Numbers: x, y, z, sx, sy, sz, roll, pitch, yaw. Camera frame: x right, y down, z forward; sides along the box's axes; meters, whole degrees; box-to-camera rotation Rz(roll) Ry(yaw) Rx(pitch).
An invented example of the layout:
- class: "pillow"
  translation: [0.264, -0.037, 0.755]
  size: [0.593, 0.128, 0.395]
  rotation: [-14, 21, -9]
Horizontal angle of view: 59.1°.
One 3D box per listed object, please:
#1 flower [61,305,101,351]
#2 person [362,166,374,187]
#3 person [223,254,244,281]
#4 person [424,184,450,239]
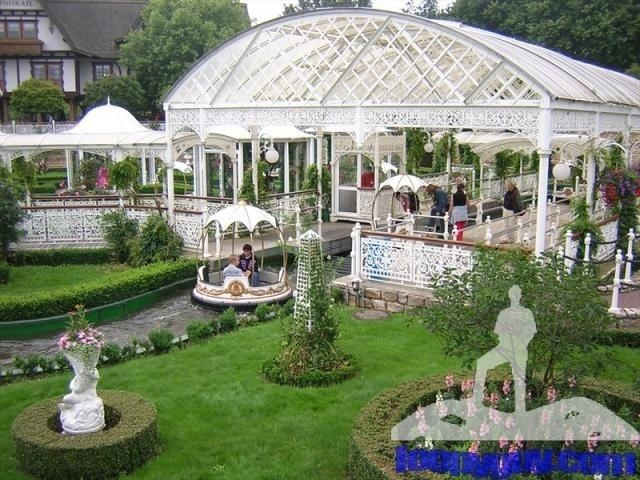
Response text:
- class: "flower"
  translation: [-3.454, 1.274, 8.142]
  size: [0.547, 0.554, 0.789]
  rotation: [-5, 15, -15]
- class: "person"
  translation: [1.844, -2.456, 21.970]
  size: [0.469, 0.811, 0.298]
  rotation: [-2, 14, -4]
- class: "person"
  translation: [-2.266, 0.765, 14.831]
  size: [0.541, 0.791, 0.431]
  rotation: [7, 16, 28]
- class: "person"
  translation: [3.468, -0.842, 16.614]
  size: [0.626, 1.612, 2.774]
  rotation: [2, 15, 13]
